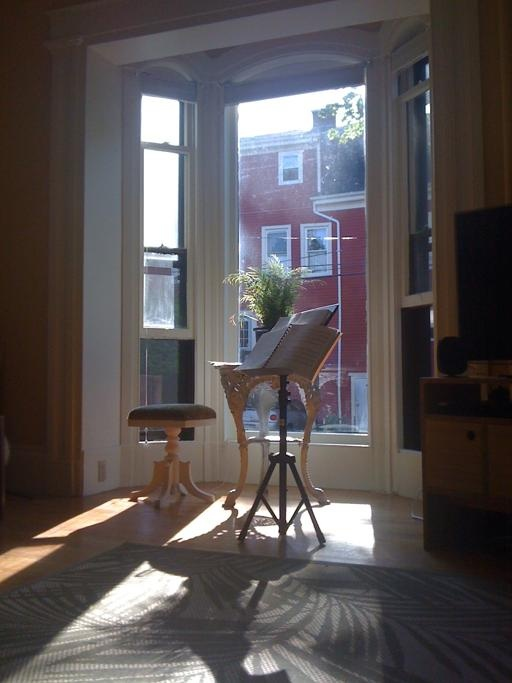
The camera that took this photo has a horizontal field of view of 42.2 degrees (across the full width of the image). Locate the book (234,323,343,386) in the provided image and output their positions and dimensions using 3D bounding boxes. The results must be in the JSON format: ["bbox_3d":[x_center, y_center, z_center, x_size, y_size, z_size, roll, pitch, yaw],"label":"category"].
[{"bbox_3d":[0.111,0.037,2.541,0.267,0.200,0.485,1,-1,-33],"label":"book"}]

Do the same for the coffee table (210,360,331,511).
[{"bbox_3d":[0.088,0.463,3.327,0.557,0.712,1.072,0,-1,6],"label":"coffee table"}]

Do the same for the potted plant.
[{"bbox_3d":[0.062,-0.238,3.862,0.440,0.436,0.450,-1,-2,-10],"label":"potted plant"}]

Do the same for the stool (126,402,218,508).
[{"bbox_3d":[-0.385,0.580,3.420,0.438,0.546,0.474,0,-8,-1],"label":"stool"}]
